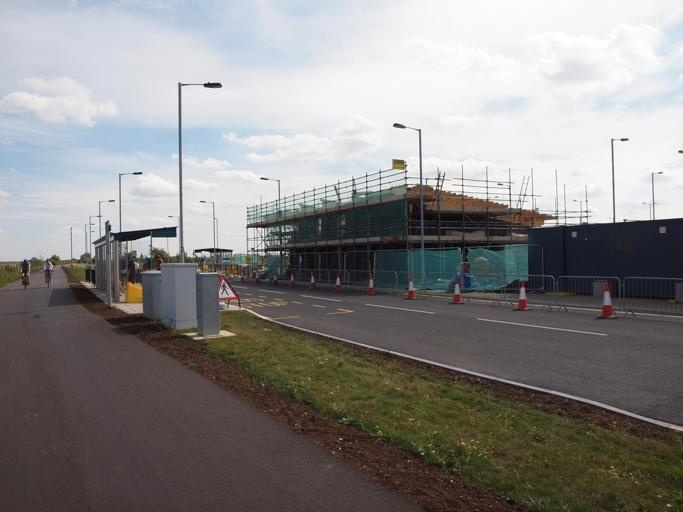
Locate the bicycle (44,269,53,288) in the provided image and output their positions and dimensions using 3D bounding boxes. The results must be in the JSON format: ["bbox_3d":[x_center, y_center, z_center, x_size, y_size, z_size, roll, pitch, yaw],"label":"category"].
[{"bbox_3d":[-20.324,1.631,43.145,0.968,1.345,2.078,1,-3,-24],"label":"bicycle"}]
